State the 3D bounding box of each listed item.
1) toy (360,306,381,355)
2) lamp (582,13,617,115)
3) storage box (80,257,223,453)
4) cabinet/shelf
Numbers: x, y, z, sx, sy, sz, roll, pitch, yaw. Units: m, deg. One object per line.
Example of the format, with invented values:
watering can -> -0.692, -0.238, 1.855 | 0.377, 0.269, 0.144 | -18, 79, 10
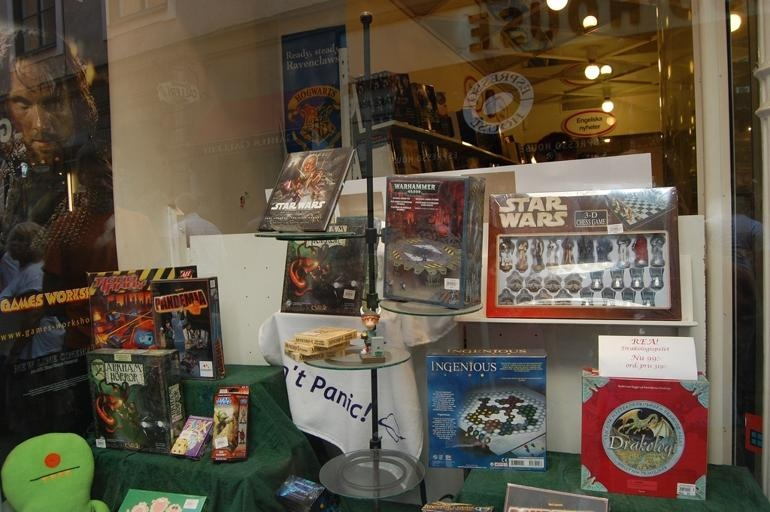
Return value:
toy -> -0.064, 0.344, 3.078 | 0.096, 0.225, 0.217 | 0, 0, -2
lamp -> 1.184, -1.062, 3.531 | 0.131, 0.584, 0.141 | -5, 2, 16
storage box -> -1.262, 0.568, 3.445 | 0.892, 1.082, 0.370 | -3, -3, 13
cabinet/shelf -> 0.308, -0.826, 3.701 | 0.828, 0.785, 0.284 | 2, -2, -11
